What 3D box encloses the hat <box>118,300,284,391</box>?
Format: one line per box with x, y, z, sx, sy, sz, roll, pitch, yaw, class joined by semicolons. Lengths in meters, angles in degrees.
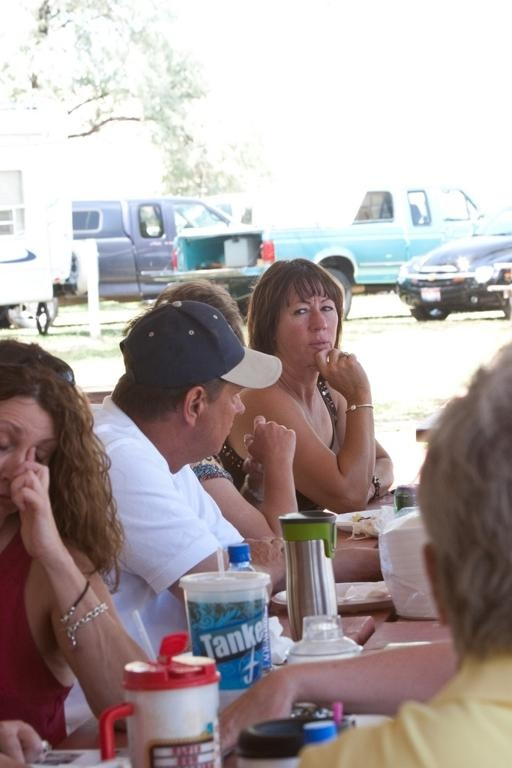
-0.133;-0.108;1.796;0.426;0.186;0.242;-2;23;-15;hat

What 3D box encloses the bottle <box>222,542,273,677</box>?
-0.037;0.401;1.252;0.122;0.230;0.110;0;-1;9;bottle

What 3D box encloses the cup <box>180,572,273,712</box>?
-0.051;0.393;1.103;0.150;0.170;0.136;-8;-15;22;cup

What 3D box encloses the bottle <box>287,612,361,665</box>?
0.101;0.377;1.076;0.087;0.045;0.079;-2;-11;0;bottle
